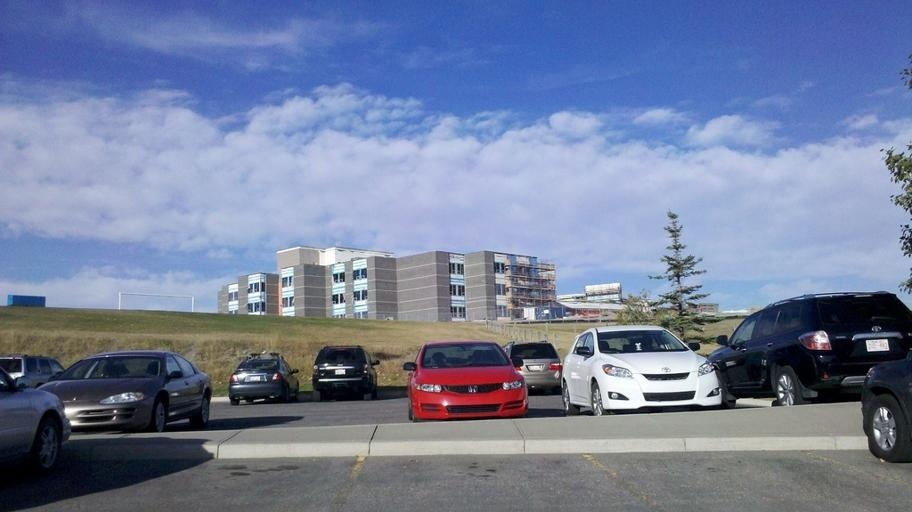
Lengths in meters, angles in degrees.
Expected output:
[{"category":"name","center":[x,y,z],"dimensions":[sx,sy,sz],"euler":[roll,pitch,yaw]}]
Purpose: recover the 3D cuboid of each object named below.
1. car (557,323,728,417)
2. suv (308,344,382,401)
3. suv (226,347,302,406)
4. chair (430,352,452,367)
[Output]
[{"category":"car","center":[4.391,2.940,17.883],"dimensions":[2.627,2.218,3.591],"euler":[1,-1,-30]},{"category":"suv","center":[-4.653,4.953,29.639],"dimensions":[2.551,2.444,2.545],"euler":[0,-1,-9]},{"category":"suv","center":[-7.687,5.033,28.403],"dimensions":[2.549,1.962,2.664],"euler":[0,-1,-13]},{"category":"chair","center":[-0.401,2.716,18.547],"dimensions":[0.362,0.302,0.329],"euler":[2,-17,-2]}]
